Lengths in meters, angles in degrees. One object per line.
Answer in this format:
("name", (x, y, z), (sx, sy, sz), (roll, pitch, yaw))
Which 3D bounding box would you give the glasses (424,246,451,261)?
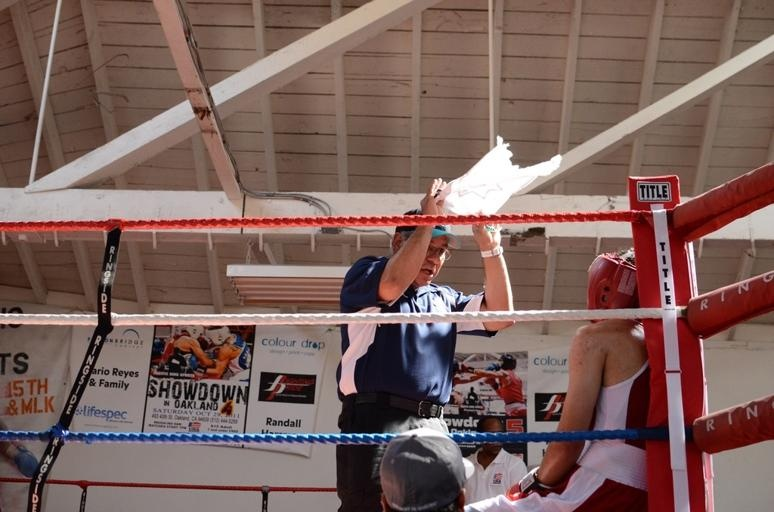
("glasses", (0.321, -0.033, 6.525), (0.120, 0.037, 0.116), (7, -30, -12))

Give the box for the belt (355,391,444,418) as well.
("belt", (0.110, 0.917, 6.174), (0.291, 0.063, 0.253), (13, -7, -31))

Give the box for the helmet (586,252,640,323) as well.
("helmet", (1.468, 0.199, 6.224), (0.345, 0.399, 0.444), (9, -9, -6))

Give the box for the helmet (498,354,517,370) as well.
("helmet", (1.284, 1.124, 10.567), (0.155, 0.128, 0.159), (15, -15, -9))
